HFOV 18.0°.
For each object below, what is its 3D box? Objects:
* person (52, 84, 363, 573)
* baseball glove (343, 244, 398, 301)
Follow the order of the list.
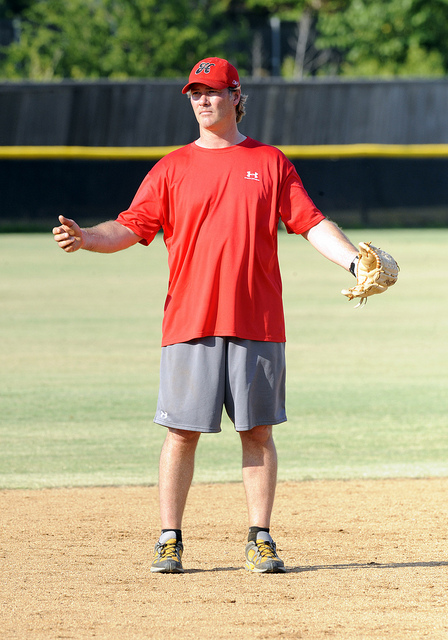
[{"bbox_3d":[-0.013,0.023,6.166,1.131,2.052,0.578,4,14,7],"label":"person"},{"bbox_3d":[0.620,-0.197,5.912,0.124,0.246,0.179,27,9,-39],"label":"baseball glove"}]
